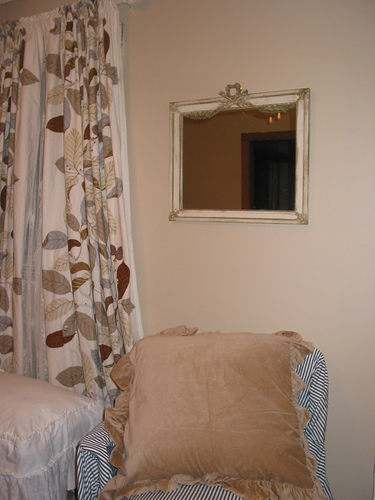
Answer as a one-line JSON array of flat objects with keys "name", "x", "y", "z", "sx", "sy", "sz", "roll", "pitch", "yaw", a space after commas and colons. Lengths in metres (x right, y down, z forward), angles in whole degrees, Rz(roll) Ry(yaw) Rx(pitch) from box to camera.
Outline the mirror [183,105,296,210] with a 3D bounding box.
[{"name": "mirror", "x": 0.236, "y": -0.393, "z": 2.054, "sx": 0.381, "sy": 0.380, "sz": 0.019, "roll": 4, "pitch": 7, "yaw": 33}]

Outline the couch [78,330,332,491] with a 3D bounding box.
[{"name": "couch", "x": 0.065, "y": 0.533, "z": 1.655, "sx": 0.785, "sy": 0.451, "sz": 0.520, "roll": -1, "pitch": 1, "yaw": 17}]
